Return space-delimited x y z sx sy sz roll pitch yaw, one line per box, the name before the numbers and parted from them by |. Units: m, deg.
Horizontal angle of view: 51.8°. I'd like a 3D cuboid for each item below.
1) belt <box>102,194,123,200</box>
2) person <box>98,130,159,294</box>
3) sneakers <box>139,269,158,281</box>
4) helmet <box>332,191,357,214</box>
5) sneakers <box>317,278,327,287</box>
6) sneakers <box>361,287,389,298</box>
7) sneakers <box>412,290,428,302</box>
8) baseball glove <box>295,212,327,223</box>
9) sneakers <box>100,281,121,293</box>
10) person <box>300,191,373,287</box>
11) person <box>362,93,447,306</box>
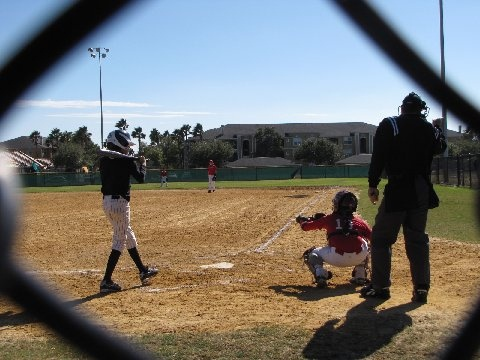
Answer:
belt | -1.645 0.219 6.374 0.271 0.065 0.099 1 4 20
person | -1.511 0.360 6.507 0.680 2.060 1.245 -1 4 -13
sneakers | -1.253 1.283 6.852 0.097 0.131 0.300 18 30 39
helmet | 1.357 0.286 6.404 0.230 0.304 0.307 6 1 7
sneakers | 1.030 1.286 6.226 0.130 0.154 0.170 0 4 8
sneakers | 1.567 1.302 5.765 0.307 0.140 0.117 4 4 36
sneakers | 2.051 1.298 5.626 0.169 0.143 0.251 1 4 19
baseball glove | 1.105 0.580 7.701 0.485 0.233 0.623 -4 -5 1
sneakers | -1.649 1.364 6.323 0.268 0.127 0.114 1 -1 -11
person | 1.266 0.707 6.638 1.098 1.261 1.066 3 -2 8
person | 1.871 0.313 5.715 0.889 2.112 0.475 0 4 6
